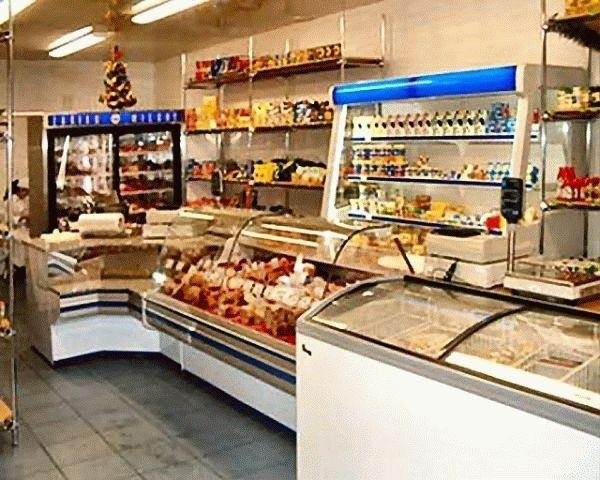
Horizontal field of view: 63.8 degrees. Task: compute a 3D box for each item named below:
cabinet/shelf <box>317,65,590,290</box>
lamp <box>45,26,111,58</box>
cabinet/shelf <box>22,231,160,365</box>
[{"bbox_3d":[1.212,-0.500,3.599,0.619,1.521,1.715,-4,8,-44],"label":"cabinet/shelf"},{"bbox_3d":[-2.968,-2.649,6.490,0.785,0.398,0.482,-6,10,-26],"label":"lamp"},{"bbox_3d":[-1.780,0.356,4.488,0.992,1.137,1.377,3,5,43],"label":"cabinet/shelf"}]
